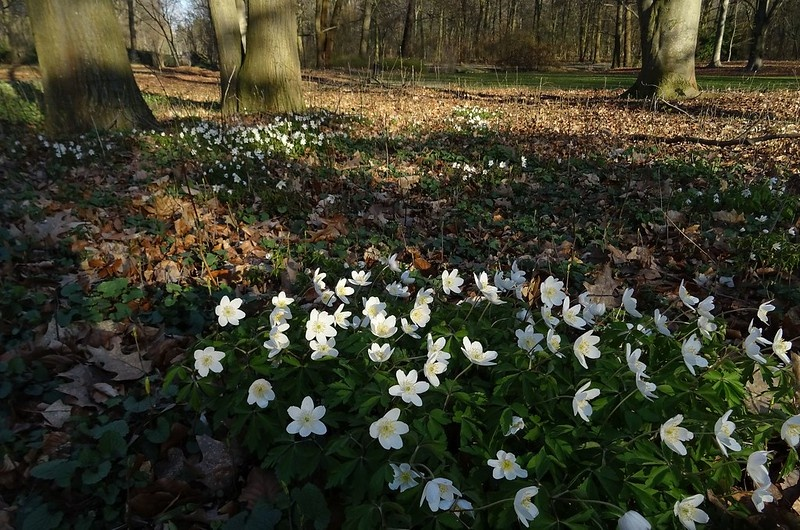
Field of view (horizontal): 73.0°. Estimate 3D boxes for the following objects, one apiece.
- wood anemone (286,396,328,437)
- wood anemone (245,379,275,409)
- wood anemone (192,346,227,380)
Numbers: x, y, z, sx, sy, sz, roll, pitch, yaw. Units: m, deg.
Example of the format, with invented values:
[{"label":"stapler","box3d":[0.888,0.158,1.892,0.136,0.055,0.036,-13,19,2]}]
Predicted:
[{"label":"wood anemone","box3d":[-0.739,1.231,4.312,0.278,0.347,0.136,4,3,-14]},{"label":"wood anemone","box3d":[-1.149,1.056,4.437,0.217,0.236,0.108,-17,12,-19]},{"label":"wood anemone","box3d":[-1.626,0.815,4.587,0.239,0.255,0.120,27,-4,-9]}]
